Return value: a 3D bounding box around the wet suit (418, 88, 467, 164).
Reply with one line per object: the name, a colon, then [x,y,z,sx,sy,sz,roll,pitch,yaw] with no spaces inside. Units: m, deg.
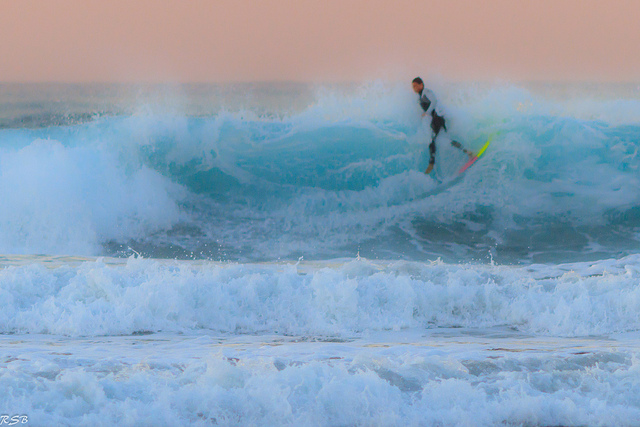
wet suit: [2.702,-2.064,23.911,0.602,1.694,1.178,-4,1,7]
